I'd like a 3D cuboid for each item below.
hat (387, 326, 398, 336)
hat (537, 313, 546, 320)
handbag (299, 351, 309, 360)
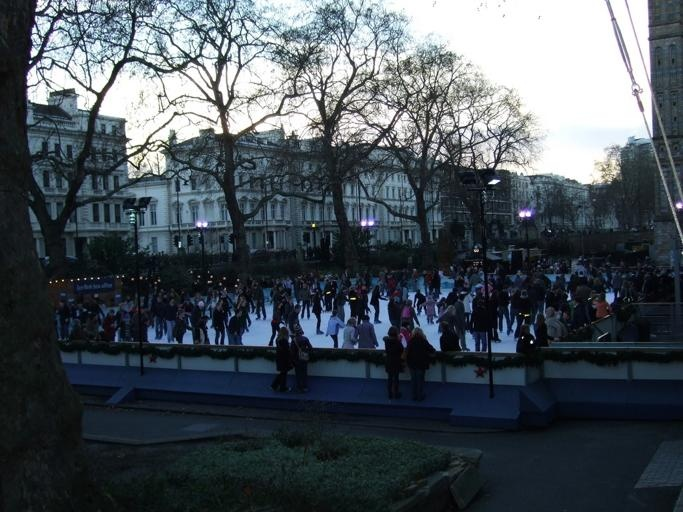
[{"bbox_3d":[1.268,1.855,19.543,0.159,0.250,0.232,4,19,1],"label":"hat"},{"bbox_3d":[5.385,1.623,21.285,0.175,0.268,0.257,10,-22,-6],"label":"hat"},{"bbox_3d":[-0.975,2.587,20.443,0.148,0.247,0.211,-1,-4,12],"label":"handbag"}]
